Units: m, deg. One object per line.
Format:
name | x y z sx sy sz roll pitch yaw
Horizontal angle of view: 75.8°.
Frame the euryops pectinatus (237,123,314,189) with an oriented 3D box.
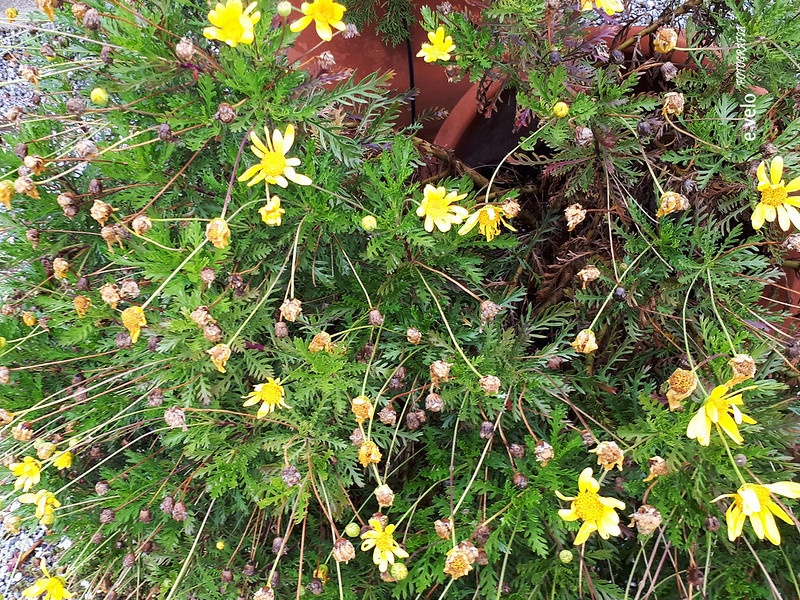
euryops pectinatus | -0.214 -0.264 0.925 0.121 0.126 0.138 -1 83 3
